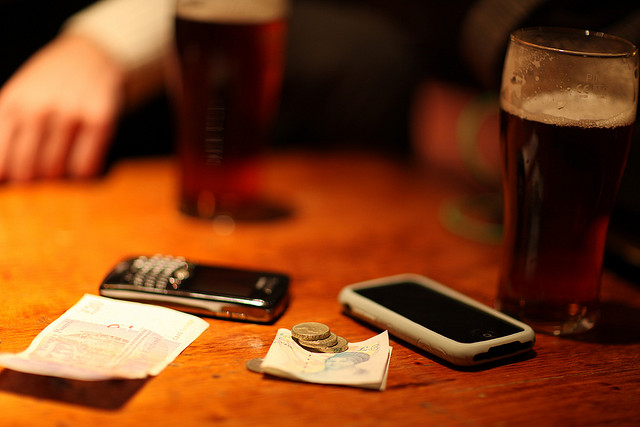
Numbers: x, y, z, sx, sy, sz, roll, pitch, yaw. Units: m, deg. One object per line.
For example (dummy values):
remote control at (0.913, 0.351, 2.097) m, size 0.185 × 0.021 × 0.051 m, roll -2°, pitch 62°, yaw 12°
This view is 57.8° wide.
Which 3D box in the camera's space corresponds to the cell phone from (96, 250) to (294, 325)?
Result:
cell phone at (-0.179, 0.105, 0.854) m, size 0.211 × 0.032 × 0.124 m, roll 8°, pitch 23°, yaw 8°

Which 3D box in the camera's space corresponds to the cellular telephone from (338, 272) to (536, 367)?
cellular telephone at (0.162, 0.157, 0.855) m, size 0.162 × 0.042 × 0.269 m, roll -2°, pitch 11°, yaw -31°
